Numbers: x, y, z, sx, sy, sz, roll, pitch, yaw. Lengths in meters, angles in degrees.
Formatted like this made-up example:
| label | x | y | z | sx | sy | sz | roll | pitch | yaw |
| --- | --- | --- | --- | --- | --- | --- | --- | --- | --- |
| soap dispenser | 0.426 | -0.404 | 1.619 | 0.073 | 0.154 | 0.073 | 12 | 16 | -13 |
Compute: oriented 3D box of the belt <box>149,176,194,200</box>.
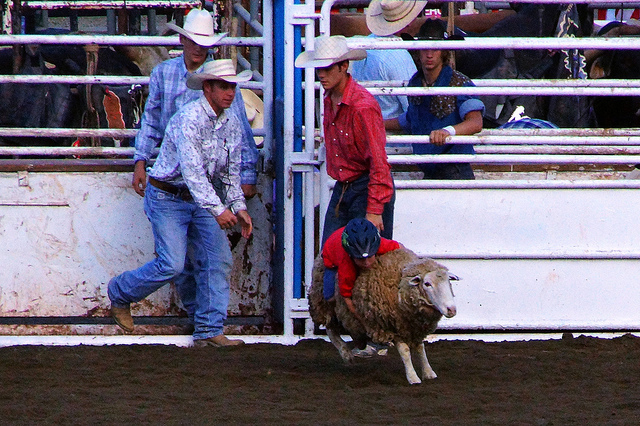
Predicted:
| label | x | y | z | sx | sy | sz | roll | pitch | yaw |
| --- | --- | --- | --- | --- | --- | --- | --- | --- | --- |
| belt | -1.287 | -0.209 | 10.990 | 0.273 | 0.079 | 0.203 | 23 | 0 | -1 |

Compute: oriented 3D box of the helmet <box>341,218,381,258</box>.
| label | x | y | z | sx | sy | sz | roll | pitch | yaw |
| --- | --- | --- | --- | --- | --- | --- | --- | --- | --- |
| helmet | 0.323 | 0.200 | 10.224 | 0.321 | 0.266 | 0.220 | 6 | 24 | 7 |

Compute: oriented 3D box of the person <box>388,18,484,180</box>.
| label | x | y | z | sx | sy | sz | roll | pitch | yaw |
| --- | --- | --- | --- | --- | --- | --- | --- | --- | --- |
| person | 1.064 | -0.951 | 11.507 | 0.794 | 1.339 | 1.218 | 1 | 24 | -5 |

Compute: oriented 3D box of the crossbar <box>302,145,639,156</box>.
| label | x | y | z | sx | sy | sz | roll | pitch | yaw |
| --- | --- | --- | --- | --- | --- | --- | --- | --- | --- |
| crossbar | 1.327 | -0.556 | 11.329 | 2.569 | 0.065 | 0.091 | 1 | -17 | -5 |

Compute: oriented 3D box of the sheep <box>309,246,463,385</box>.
| label | x | y | z | sx | sy | sz | roll | pitch | yaw |
| --- | --- | --- | --- | --- | --- | --- | --- | --- | --- |
| sheep | 0.594 | 0.819 | 10.636 | 0.728 | 1.027 | 1.594 | -9 | 12 | -36 |

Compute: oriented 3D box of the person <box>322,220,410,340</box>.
| label | x | y | z | sx | sy | sz | roll | pitch | yaw |
| --- | --- | --- | --- | --- | --- | --- | --- | --- | --- |
| person | 0.305 | 0.450 | 10.323 | 0.655 | 0.533 | 1.014 | -20 | -6 | -19 |

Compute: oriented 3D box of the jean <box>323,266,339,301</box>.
| label | x | y | z | sx | sy | sz | roll | pitch | yaw |
| --- | --- | --- | --- | --- | --- | --- | --- | --- | --- |
| jean | 0.084 | 0.563 | 10.538 | 0.135 | 0.400 | 0.242 | -4 | -3 | 1 |

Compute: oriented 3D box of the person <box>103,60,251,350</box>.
| label | x | y | z | sx | sy | sz | roll | pitch | yaw |
| --- | --- | --- | --- | --- | --- | --- | --- | --- | --- |
| person | -1.150 | -0.070 | 10.892 | 1.114 | 2.427 | 0.811 | 1 | 25 | -6 |

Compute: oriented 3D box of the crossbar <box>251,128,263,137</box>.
| label | x | y | z | sx | sy | sz | roll | pitch | yaw |
| --- | --- | --- | --- | --- | --- | --- | --- | --- | --- |
| crossbar | -0.563 | -0.724 | 11.389 | 0.110 | 0.056 | 0.024 | 2 | 1 | -29 |

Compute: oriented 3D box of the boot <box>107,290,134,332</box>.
| label | x | y | z | sx | sy | sz | roll | pitch | yaw |
| --- | --- | --- | --- | --- | --- | --- | --- | --- | --- |
| boot | -1.720 | 0.898 | 11.112 | 0.113 | 0.133 | 0.307 | -19 | 41 | -35 |
